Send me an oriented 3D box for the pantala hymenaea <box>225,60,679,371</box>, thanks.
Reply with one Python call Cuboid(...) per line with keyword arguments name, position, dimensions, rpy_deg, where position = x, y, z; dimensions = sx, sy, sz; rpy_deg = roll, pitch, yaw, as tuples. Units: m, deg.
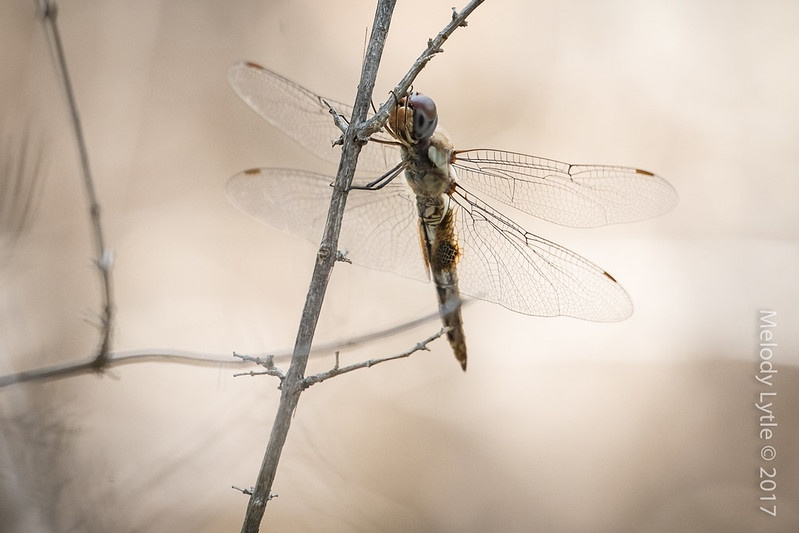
Cuboid(name="pantala hymenaea", position=(0.064, -0.049, 2.039), dimensions=(1.027, 0.246, 0.655), rpy_deg=(14, -60, -1))
